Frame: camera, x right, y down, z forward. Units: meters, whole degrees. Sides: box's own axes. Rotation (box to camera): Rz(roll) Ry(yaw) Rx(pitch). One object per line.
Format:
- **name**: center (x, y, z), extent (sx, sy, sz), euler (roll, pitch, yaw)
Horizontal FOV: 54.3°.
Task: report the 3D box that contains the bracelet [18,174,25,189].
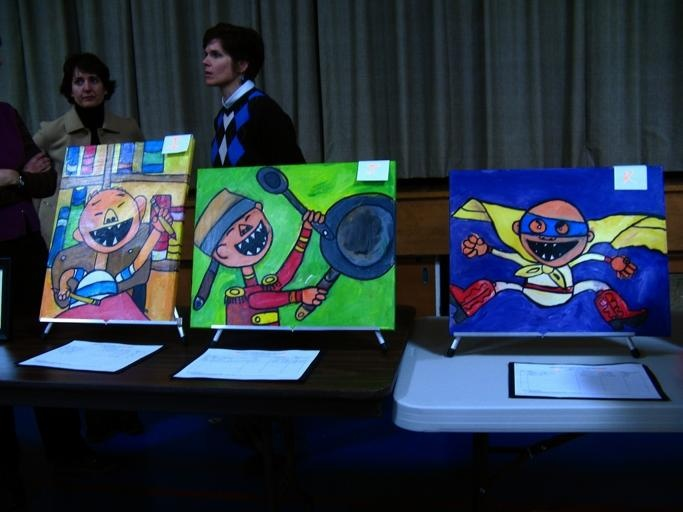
- **bracelet**: center (-1.061, -0.256, 2.200), extent (0.006, 0.028, 0.028), euler (-5, -14, 24)
